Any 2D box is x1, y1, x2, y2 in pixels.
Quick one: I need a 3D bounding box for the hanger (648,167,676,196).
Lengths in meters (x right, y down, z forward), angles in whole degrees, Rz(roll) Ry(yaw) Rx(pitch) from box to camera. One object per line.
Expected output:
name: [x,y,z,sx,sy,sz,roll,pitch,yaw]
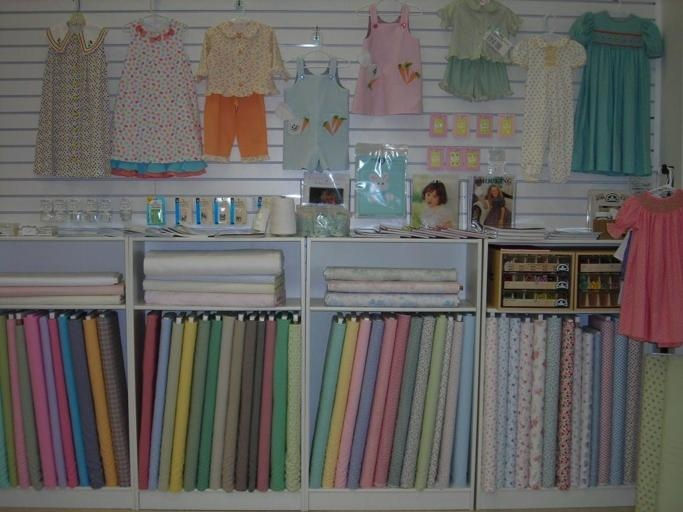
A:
hanger: [2.136,-0.489,6.014,0.086,0.229,0.209,2,-3,-15]
